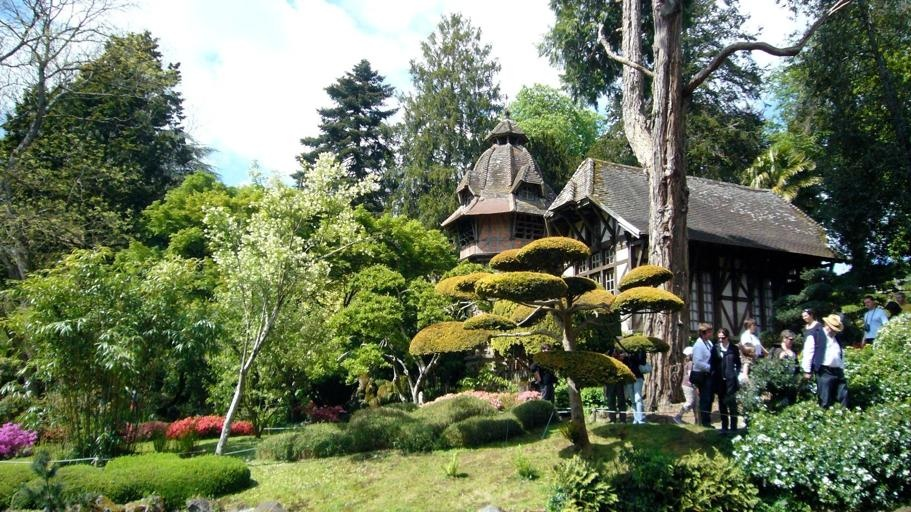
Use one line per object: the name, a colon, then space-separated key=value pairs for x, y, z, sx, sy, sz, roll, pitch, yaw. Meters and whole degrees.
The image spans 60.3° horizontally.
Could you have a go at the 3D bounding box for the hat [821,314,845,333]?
hat: x=14.715 y=2.616 z=30.592 sx=0.621 sy=0.738 sz=0.528 roll=-6 pitch=-14 yaw=22

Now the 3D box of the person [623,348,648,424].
person: x=7.740 y=5.641 z=33.542 sx=0.898 sy=3.049 sz=1.090 roll=-5 pitch=-14 yaw=16

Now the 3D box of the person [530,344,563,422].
person: x=4.157 y=6.358 z=37.337 sx=0.968 sy=2.937 sz=0.934 roll=3 pitch=-34 yaw=-21

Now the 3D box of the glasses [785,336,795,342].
glasses: x=13.370 y=3.330 z=31.375 sx=0.375 sy=0.227 sz=0.189 roll=4 pitch=-14 yaw=-21
